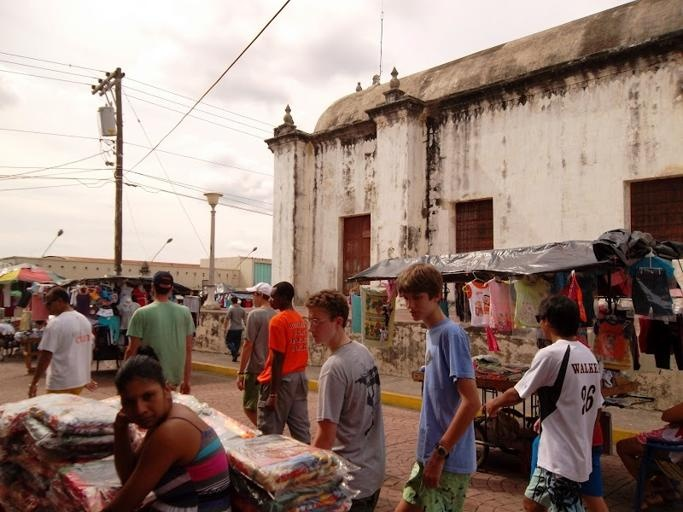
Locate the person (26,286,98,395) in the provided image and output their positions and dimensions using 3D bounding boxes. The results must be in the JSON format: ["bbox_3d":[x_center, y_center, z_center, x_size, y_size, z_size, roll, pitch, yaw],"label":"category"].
[{"bbox_3d":[-3.445,1.047,7.473,0.722,1.356,0.617,2,-5,-29],"label":"person"}]

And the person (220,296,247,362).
[{"bbox_3d":[-2.991,2.013,16.951,0.824,1.829,0.872,2,1,28],"label":"person"}]

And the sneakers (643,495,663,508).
[{"bbox_3d":[3.532,2.786,6.866,0.371,0.133,0.075,2,-5,-32],"label":"sneakers"}]
